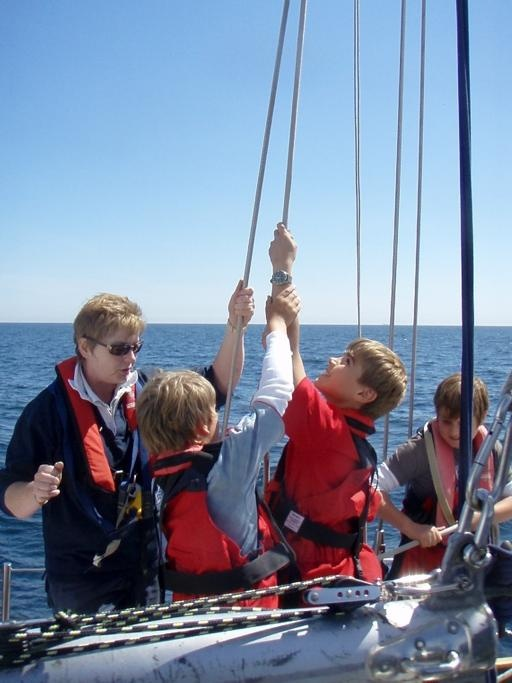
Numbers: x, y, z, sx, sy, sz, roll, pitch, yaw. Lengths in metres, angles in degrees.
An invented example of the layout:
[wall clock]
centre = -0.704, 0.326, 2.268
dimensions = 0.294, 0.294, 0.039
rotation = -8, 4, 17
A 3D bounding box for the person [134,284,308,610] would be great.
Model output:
[person]
centre = -0.143, 0.419, 2.385
dimensions = 0.514, 0.891, 0.361
rotation = 3, -1, -9
